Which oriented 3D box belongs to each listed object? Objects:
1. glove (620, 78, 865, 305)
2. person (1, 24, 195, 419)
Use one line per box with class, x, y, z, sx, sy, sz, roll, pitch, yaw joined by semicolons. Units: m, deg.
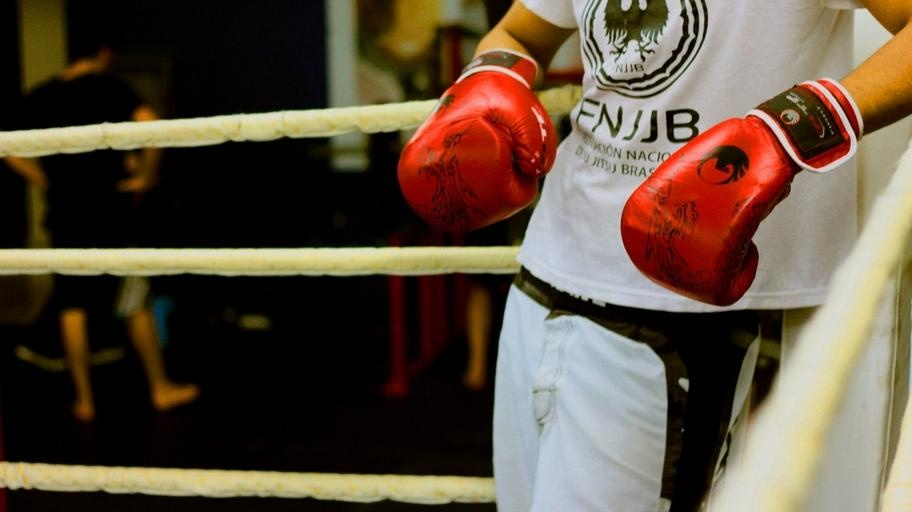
glove;1.259;-0.281;5.397;0.654;1.180;0.513;42;9;20
person;-1.937;0.085;6.685;0.804;2.183;1.204;-3;26;-20
